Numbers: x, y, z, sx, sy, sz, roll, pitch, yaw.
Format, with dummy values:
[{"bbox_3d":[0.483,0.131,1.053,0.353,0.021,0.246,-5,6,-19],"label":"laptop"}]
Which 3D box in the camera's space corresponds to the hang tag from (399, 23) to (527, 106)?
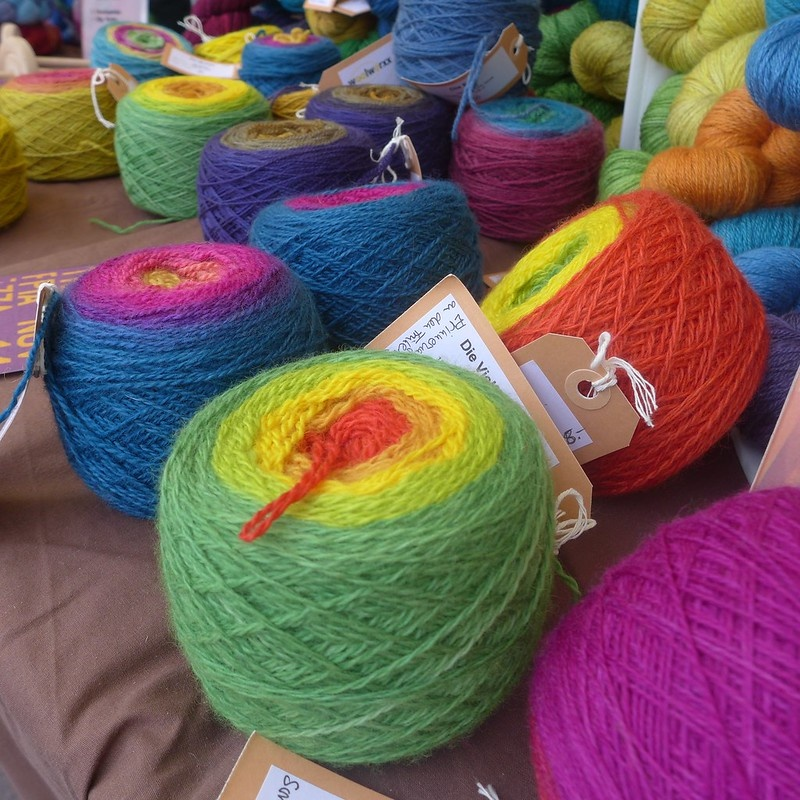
[{"bbox_3d":[0.108,-0.528,1.312,0.177,0.066,0.116,-11,34,26],"label":"hang tag"}]
